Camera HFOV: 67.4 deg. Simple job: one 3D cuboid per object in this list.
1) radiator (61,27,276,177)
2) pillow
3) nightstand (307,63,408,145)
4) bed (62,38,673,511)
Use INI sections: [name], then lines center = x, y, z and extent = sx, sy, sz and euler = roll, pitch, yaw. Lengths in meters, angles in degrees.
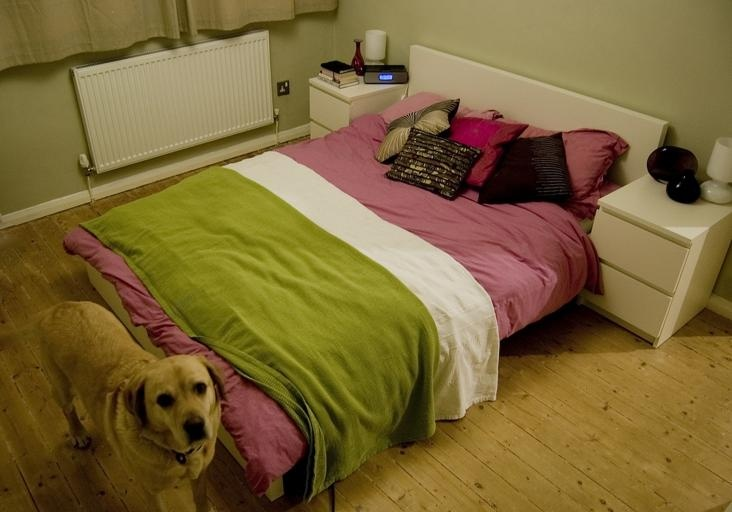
[radiator]
center = -1.604, -1.239, 4.320
extent = 1.433, 0.804, 0.095
euler = -24, 43, -25
[pillow]
center = 0.955, -0.726, 4.052
extent = 1.446, 0.427, 0.909
euler = 33, 67, 20
[nightstand]
center = -0.073, -1.374, 4.720
extent = 0.635, 0.685, 0.563
euler = -21, 38, -33
[bed]
center = 0.099, 0.106, 3.158
extent = 2.652, 1.340, 2.778
euler = -17, 34, -31
